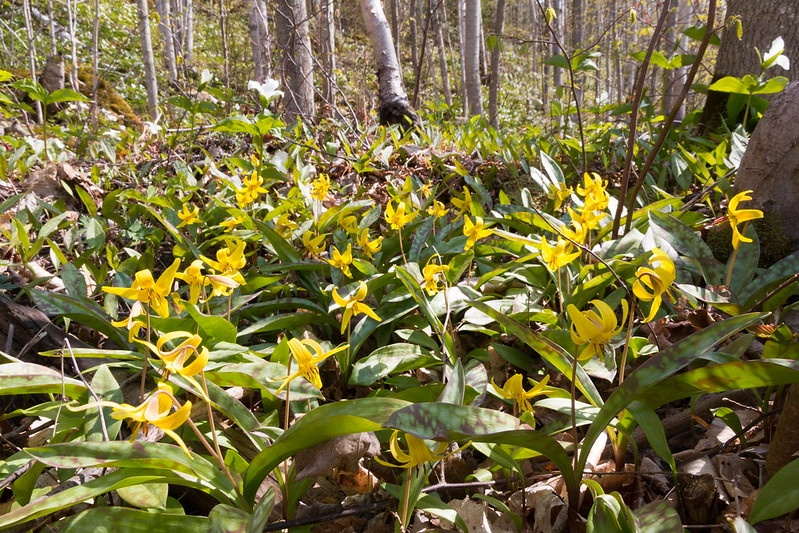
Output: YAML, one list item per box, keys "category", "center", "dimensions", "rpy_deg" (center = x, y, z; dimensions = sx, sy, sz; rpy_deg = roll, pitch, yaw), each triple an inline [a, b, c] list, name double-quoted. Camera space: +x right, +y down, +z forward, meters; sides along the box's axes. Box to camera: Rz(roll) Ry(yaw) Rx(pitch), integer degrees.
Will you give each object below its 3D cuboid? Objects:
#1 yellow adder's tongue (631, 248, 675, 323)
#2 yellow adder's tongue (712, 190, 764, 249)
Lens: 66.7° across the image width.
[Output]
- category: "yellow adder's tongue"
  center: [1.145, 0.084, 2.717]
  dimensions: [0.169, 0.400, 0.211]
  rpy_deg: [0, 0, 0]
- category: "yellow adder's tongue"
  center: [1.863, -0.250, 3.322]
  dimensions: [0.312, 0.314, 0.181]
  rpy_deg: [-36, 11, -39]
